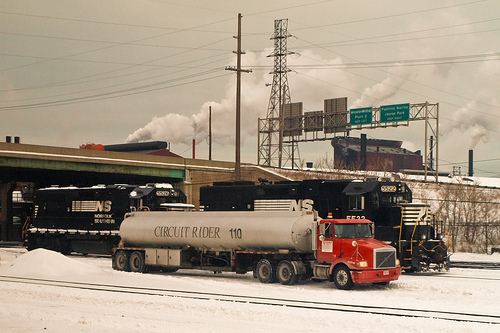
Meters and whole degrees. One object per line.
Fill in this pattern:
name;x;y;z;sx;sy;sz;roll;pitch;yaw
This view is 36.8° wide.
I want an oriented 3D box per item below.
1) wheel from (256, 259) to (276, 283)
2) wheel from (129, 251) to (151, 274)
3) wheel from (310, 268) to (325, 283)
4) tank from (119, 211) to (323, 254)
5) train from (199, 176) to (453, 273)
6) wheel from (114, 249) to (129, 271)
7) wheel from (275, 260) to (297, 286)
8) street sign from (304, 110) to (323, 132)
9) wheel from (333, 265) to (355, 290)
wheel;0.911;6.065;43.861;0.488;1.440;1.309;2;-3;-44
wheel;-6.994;5.993;47.442;1.284;1.428;0.466;-2;-2;42
wheel;3.944;6.367;44.299;0.195;0.918;0.875;-2;16;11
tank;-2.248;4.132;46.231;13.066;3.391;2.625;0;14;18
train;6.268;2.929;52.585;20.720;7.817;6.940;-2;-3;32
wheel;-8.275;5.890;48.029;1.153;1.270;0.600;4;10;26
wheel;2.099;6.032;42.875;0.448;1.418;1.285;1;-2;-40
street sign;7.710;-5.603;92.674;2.745;2.811;0.377;-4;-16;14
wheel;5.241;6.092;41.672;0.476;1.459;1.170;2;-6;-41
